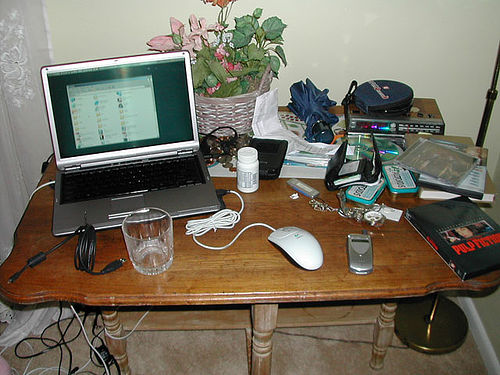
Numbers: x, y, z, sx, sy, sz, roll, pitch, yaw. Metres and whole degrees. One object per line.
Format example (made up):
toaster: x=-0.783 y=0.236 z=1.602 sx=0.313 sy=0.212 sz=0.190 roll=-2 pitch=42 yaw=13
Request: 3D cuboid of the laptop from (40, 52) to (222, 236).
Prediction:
laptop: x=-0.386 y=-0.156 z=1.245 sx=0.519 sy=0.456 sz=0.381 roll=-7 pitch=31 yaw=-12

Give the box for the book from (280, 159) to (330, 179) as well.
book: x=0.196 y=-0.067 z=1.398 sx=0.167 sy=0.053 sz=0.116 roll=7 pitch=30 yaw=13

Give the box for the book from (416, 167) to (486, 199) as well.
book: x=0.687 y=-0.014 z=1.288 sx=0.244 sy=0.059 sz=0.106 roll=-3 pitch=30 yaw=-7

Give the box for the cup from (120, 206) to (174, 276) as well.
cup: x=-0.289 y=0.149 z=1.131 sx=0.135 sy=0.115 sz=0.188 roll=-9 pitch=31 yaw=-16

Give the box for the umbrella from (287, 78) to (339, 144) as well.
umbrella: x=0.282 y=-0.299 z=1.639 sx=0.223 sy=0.092 sz=0.288 roll=-25 pitch=62 yaw=3

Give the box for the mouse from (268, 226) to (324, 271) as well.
mouse: x=0.135 y=0.158 z=1.113 sx=0.094 sy=0.046 sz=0.144 roll=-18 pitch=44 yaw=-28

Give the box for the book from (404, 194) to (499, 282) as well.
book: x=0.644 y=0.147 z=1.176 sx=0.226 sy=0.093 sz=0.262 roll=-10 pitch=31 yaw=-18

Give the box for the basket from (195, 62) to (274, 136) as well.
basket: x=-0.037 y=-0.339 z=1.637 sx=0.286 sy=0.215 sz=0.298 roll=13 pitch=38 yaw=17

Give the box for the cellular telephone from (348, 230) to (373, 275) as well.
cellular telephone: x=0.320 y=0.183 z=1.126 sx=0.074 sy=0.036 sz=0.139 roll=0 pitch=37 yaw=11
